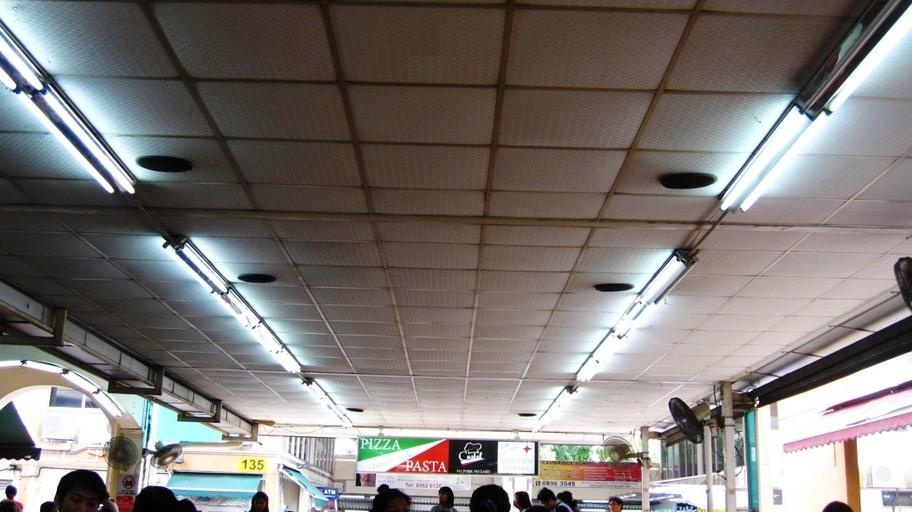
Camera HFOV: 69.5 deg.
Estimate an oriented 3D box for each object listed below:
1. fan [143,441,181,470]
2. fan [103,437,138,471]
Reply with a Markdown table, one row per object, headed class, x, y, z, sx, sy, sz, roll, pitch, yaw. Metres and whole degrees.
| class | x | y | z | sx | sy | sz | roll | pitch | yaw |
| --- | --- | --- | --- | --- | --- | --- | --- | --- | --- |
| fan | -7.791 | 5.203 | 17.404 | 0.753 | 0.593 | 1.583 | 21 | -31 | -35 |
| fan | -7.244 | 4.207 | 14.235 | 0.595 | 0.752 | 0.940 | 14 | -30 | -22 |
